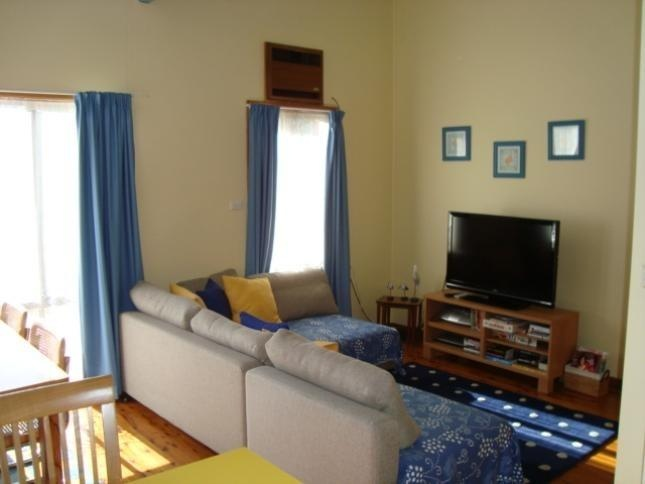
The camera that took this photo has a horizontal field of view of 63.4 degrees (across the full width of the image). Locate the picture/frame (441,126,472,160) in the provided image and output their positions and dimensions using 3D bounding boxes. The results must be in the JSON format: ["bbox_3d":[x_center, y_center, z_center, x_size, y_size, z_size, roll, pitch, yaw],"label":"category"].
[{"bbox_3d":[1.465,-1.079,5.642,0.025,0.369,0.334,-7,11,-44],"label":"picture/frame"}]

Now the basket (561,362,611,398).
[{"bbox_3d":[2.304,1.111,4.586,0.380,0.293,0.211,11,16,44],"label":"basket"}]

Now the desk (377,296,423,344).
[{"bbox_3d":[0.871,0.810,5.883,0.539,0.577,0.496,3,7,33],"label":"desk"}]

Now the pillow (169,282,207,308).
[{"bbox_3d":[-1.132,0.429,4.422,0.219,0.089,0.225,22,-4,44],"label":"pillow"}]

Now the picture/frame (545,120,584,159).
[{"bbox_3d":[2.267,-0.958,4.852,0.336,0.372,0.023,8,10,44],"label":"picture/frame"}]

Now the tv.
[{"bbox_3d":[1.762,0.178,4.983,0.839,0.645,0.224,12,16,44],"label":"tv"}]

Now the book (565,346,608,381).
[{"bbox_3d":[2.354,1.015,4.616,0.222,0.206,0.303,-4,7,-42],"label":"book"}]
